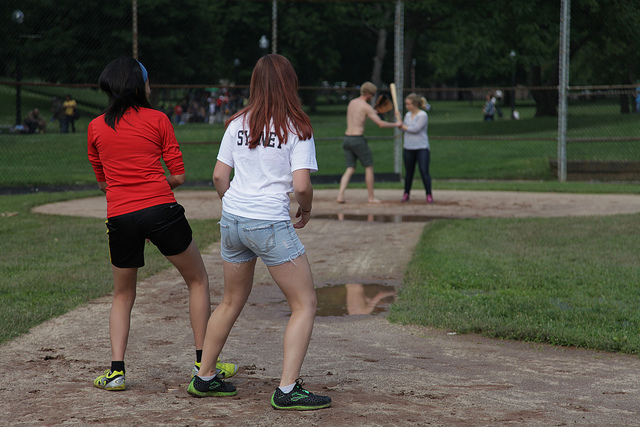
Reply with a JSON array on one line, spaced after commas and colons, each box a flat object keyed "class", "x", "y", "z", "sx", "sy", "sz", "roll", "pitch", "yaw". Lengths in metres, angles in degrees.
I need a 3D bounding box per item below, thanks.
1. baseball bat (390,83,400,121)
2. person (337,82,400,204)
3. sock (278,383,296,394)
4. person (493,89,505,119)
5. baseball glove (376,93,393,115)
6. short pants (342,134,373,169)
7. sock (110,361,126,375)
[{"class": "baseball bat", "x": 1.695, "y": -2.470, "z": 23.934, "sx": 0.142, "sy": 0.994, "sz": 0.145, "roll": -1, "pitch": -24, "yaw": -27}, {"class": "person", "x": 0.895, "y": -1.502, "z": 22.886, "sx": 1.142, "sy": 2.603, "sz": 0.598, "roll": -1, "pitch": 6, "yaw": 3}, {"class": "sock", "x": -0.472, "y": 2.413, "z": 14.708, "sx": 0.228, "sy": 0.103, "sz": 0.083, "roll": -28, "pitch": 6, "yaw": -1}, {"class": "person", "x": 4.484, "y": -2.751, "z": 26.727, "sx": 0.279, "sy": 0.726, "sz": 0.189, "roll": 0, "pitch": 7, "yaw": 9}, {"class": "baseball glove", "x": 1.419, "y": -2.482, "z": 24.046, "sx": 0.336, "sy": 0.408, "sz": 0.656, "roll": -1, "pitch": 7, "yaw": 3}, {"class": "short pants", "x": 0.788, "y": -1.362, "z": 23.051, "sx": 0.588, "sy": 0.724, "sz": 0.398, "roll": -1, "pitch": 7, "yaw": 0}, {"class": "sock", "x": -2.902, "y": 2.159, "z": 15.084, "sx": 0.176, "sy": 0.166, "sz": 0.161, "roll": -2, "pitch": 7, "yaw": -11}]
